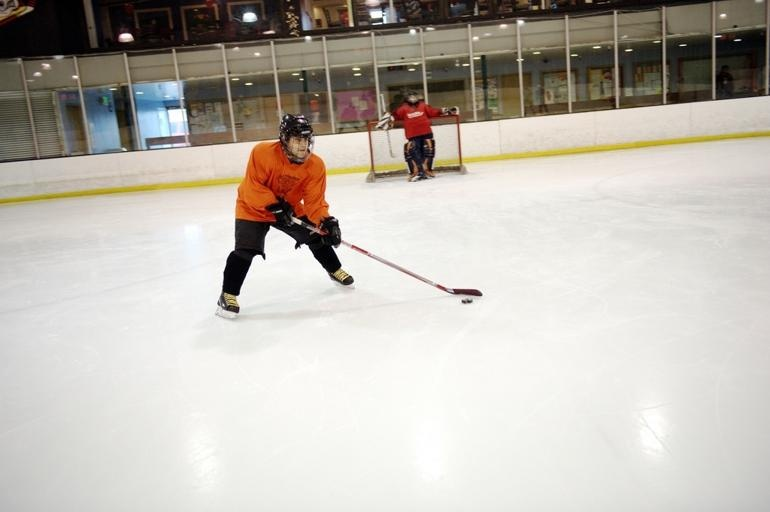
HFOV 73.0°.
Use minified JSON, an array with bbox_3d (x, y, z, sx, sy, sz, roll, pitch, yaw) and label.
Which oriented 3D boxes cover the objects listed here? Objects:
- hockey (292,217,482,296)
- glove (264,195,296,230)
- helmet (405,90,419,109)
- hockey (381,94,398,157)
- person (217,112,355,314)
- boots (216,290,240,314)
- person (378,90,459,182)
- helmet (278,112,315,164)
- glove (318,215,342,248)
[{"bbox_3d":[0.014,0.020,3.461,1.273,0.135,0.173,18,35,12],"label":"hockey"},{"bbox_3d":[-0.563,-0.251,2.874,0.163,0.149,0.110,-18,40,25],"label":"glove"},{"bbox_3d":[0.406,-2.393,7.878,0.201,0.201,0.233,-7,13,-1],"label":"helmet"},{"bbox_3d":[0.126,-2.502,9.973,0.426,1.124,0.348,-5,9,-36],"label":"hockey"},{"bbox_3d":[-0.620,-0.252,2.916,0.811,1.029,0.424,-14,16,-29],"label":"person"},{"bbox_3d":[-0.841,0.261,2.784,0.067,0.080,0.197,6,-7,-30],"label":"boots"},{"bbox_3d":[0.534,-1.892,8.163,1.136,1.361,0.547,-5,14,7],"label":"person"},{"bbox_3d":[-0.476,-0.633,2.791,0.180,0.261,0.171,-9,14,-9],"label":"helmet"},{"bbox_3d":[-0.309,-0.129,2.985,0.131,0.161,0.071,6,8,12],"label":"glove"}]
